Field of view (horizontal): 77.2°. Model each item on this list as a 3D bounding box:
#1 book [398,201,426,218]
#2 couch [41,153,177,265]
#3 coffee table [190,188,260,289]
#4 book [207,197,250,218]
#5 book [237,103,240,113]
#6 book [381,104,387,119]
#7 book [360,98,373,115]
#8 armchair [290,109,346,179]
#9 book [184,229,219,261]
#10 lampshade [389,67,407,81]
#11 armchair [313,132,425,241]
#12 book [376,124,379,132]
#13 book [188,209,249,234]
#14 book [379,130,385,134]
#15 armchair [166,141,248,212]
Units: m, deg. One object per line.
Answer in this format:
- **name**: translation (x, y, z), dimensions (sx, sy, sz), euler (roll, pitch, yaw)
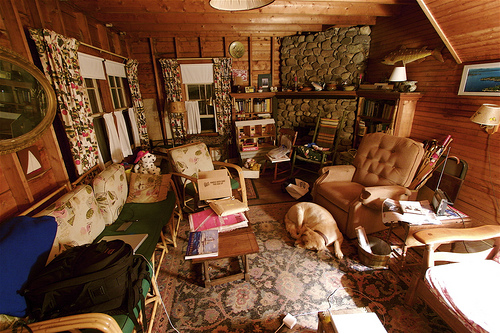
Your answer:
- **book**: translation (2.026, 0.539, 3.966), dimensions (0.286, 0.111, 0.278), euler (1, 20, 6)
- **couch**: translation (-1.623, 0.651, 3.968), dimensions (1.052, 0.867, 2.117), euler (4, 17, -4)
- **coffee table**: translation (-0.338, 0.996, 4.010), dimensions (0.746, 0.856, 0.790), euler (-5, 21, -9)
- **book**: translation (-0.266, 0.521, 4.016), dimensions (0.302, 0.065, 0.282), euler (-9, 32, -30)
- **book**: translation (-0.255, -1.294, 6.906), dimensions (0.051, 0.192, 0.027), euler (12, 26, 30)
- **book**: translation (2.269, -0.935, 5.363), dimensions (0.055, 0.250, 0.066), euler (0, 23, 5)
- **book**: translation (2.136, -1.122, 5.817), dimensions (0.046, 0.287, 0.308), euler (-8, 18, -41)
- **armchair**: translation (1.271, -0.372, 6.169), dimensions (0.944, 1.399, 0.842), euler (-9, 18, -24)
- **book**: translation (-0.562, 0.928, 3.729), dimensions (0.377, 0.192, 0.370), euler (-2, 20, -3)
- **lampshade**: translation (2.296, -1.442, 4.916), dimensions (0.228, 0.154, 0.223), euler (1, 27, 8)
- **armchair**: translation (1.689, 0.236, 4.590), dimensions (1.117, 1.300, 0.967), euler (-11, 23, -23)
- **book**: translation (2.228, -0.676, 5.531), dimensions (0.021, 0.117, 0.040), euler (-10, 23, -17)
- **book**: translation (-0.405, 0.704, 3.944), dimensions (0.406, 0.083, 0.364), euler (-4, 30, -12)
- **book**: translation (2.299, -0.600, 5.472), dimensions (0.068, 0.060, 0.117), euler (4, 7, 12)
- **armchair**: translation (-0.653, 0.177, 4.746), dimensions (0.943, 0.827, 0.787), euler (18, 26, 30)
